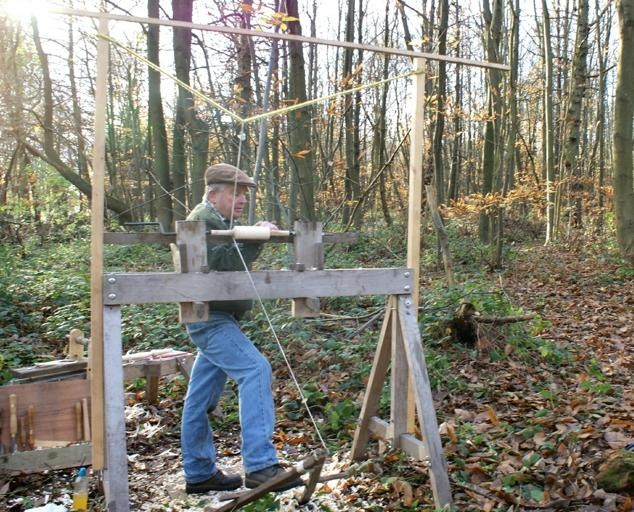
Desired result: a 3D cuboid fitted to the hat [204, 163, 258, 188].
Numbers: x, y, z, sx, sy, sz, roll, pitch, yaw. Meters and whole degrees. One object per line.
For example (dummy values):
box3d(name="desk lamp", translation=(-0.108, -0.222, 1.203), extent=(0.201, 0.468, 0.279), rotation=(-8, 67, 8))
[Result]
box3d(name="hat", translation=(-0.710, -0.652, 4.949), extent=(0.331, 0.119, 0.212), rotation=(1, 7, -7))

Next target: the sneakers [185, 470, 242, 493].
box3d(name="sneakers", translation=(-0.838, 1.871, 5.112), extent=(0.498, 0.180, 0.164), rotation=(-2, -3, -14))
